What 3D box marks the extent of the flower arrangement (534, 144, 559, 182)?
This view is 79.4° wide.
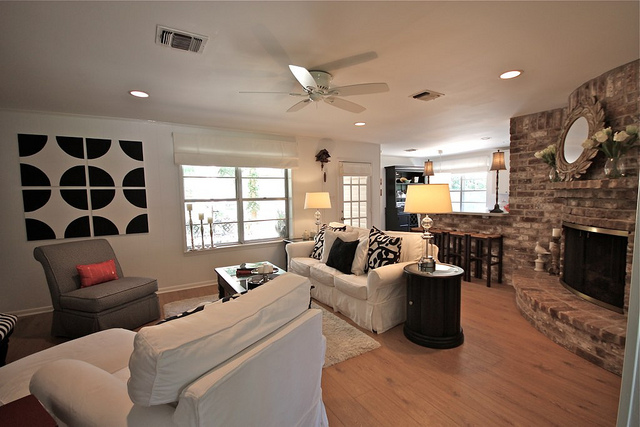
[{"bbox_3d":[3.012,-0.649,5.040,0.221,0.501,0.457,-3,3,-2],"label":"flower arrangement"}]

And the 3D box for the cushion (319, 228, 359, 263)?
[{"bbox_3d":[0.284,0.452,5.244,0.164,0.383,0.431,27,-25,-32],"label":"cushion"}]

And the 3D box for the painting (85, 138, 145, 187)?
[{"bbox_3d":[-2.903,-0.612,5.538,0.016,0.914,0.953,3,7,24],"label":"painting"}]

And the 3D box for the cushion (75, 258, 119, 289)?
[{"bbox_3d":[-2.747,0.740,4.776,0.156,0.294,0.478,3,6,28],"label":"cushion"}]

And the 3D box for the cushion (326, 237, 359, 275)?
[{"bbox_3d":[0.308,0.565,5.040,0.142,0.404,0.439,19,-6,-29],"label":"cushion"}]

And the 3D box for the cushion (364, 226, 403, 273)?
[{"bbox_3d":[0.798,0.450,4.828,0.507,0.456,0.157,-1,-15,38],"label":"cushion"}]

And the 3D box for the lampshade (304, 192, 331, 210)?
[{"bbox_3d":[-0.049,-0.208,6.276,0.301,0.299,0.301,-2,7,13],"label":"lampshade"}]

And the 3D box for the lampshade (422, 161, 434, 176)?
[{"bbox_3d":[2.525,-1.010,8.703,0.279,0.301,0.286,1,-1,-27],"label":"lampshade"}]

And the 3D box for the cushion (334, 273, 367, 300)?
[{"bbox_3d":[0.437,0.914,4.788,0.237,0.244,0.544,-5,3,-37],"label":"cushion"}]

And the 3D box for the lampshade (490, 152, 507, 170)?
[{"bbox_3d":[3.076,-0.887,6.637,0.294,0.308,0.288,0,-2,-7],"label":"lampshade"}]

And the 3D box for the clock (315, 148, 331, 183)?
[{"bbox_3d":[0.110,-0.898,7.187,0.156,0.627,0.371,1,5,42],"label":"clock"}]

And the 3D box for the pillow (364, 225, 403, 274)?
[{"bbox_3d":[0.798,0.483,4.836,0.575,0.582,0.218,3,-18,36],"label":"pillow"}]

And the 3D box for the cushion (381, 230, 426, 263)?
[{"bbox_3d":[1.054,0.436,4.817,0.418,0.327,0.150,-1,3,43],"label":"cushion"}]

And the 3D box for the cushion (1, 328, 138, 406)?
[{"bbox_3d":[-2.170,1.262,3.365,0.808,0.350,0.817,-4,-5,39],"label":"cushion"}]

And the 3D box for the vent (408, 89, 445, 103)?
[{"bbox_3d":[1.363,-1.481,4.864,0.374,0.047,0.319,-3,2,-35],"label":"vent"}]

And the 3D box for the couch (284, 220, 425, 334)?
[{"bbox_3d":[0.424,0.738,5.407,0.997,0.990,2.110,-9,12,-37],"label":"couch"}]

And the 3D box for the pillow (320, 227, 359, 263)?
[{"bbox_3d":[0.283,0.452,5.249,0.186,0.414,0.480,19,-10,-34],"label":"pillow"}]

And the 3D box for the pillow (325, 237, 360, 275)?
[{"bbox_3d":[0.303,0.561,5.037,0.134,0.398,0.430,18,-3,-27],"label":"pillow"}]

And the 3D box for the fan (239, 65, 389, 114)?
[{"bbox_3d":[0.167,-1.361,4.203,1.047,0.350,0.889,-2,2,-10],"label":"fan"}]

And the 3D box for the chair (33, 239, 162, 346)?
[{"bbox_3d":[-2.716,0.896,4.784,1.225,0.986,1.098,8,11,39],"label":"chair"}]

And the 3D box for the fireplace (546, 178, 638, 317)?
[{"bbox_3d":[3.129,0.347,4.375,0.295,1.450,0.883,-3,4,-9],"label":"fireplace"}]

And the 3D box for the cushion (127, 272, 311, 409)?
[{"bbox_3d":[-0.713,0.921,2.850,1.284,0.773,0.214,-4,4,-29],"label":"cushion"}]

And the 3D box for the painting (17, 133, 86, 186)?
[{"bbox_3d":[-3.618,-0.889,5.184,0.821,0.014,0.769,5,36,-33],"label":"painting"}]

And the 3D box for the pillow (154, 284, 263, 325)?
[{"bbox_3d":[-1.149,0.921,3.874,0.736,0.158,0.499,-10,12,-41],"label":"pillow"}]

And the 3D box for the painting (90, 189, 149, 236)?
[{"bbox_3d":[-2.869,-0.069,5.545,0.735,0.703,0.012,-3,-2,-14],"label":"painting"}]

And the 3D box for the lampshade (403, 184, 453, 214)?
[{"bbox_3d":[1.273,-0.171,4.472,0.599,0.315,0.584,0,4,24],"label":"lampshade"}]

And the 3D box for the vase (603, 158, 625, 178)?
[{"bbox_3d":[3.157,-0.478,4.113,0.194,0.217,0.195,0,-4,12],"label":"vase"}]
